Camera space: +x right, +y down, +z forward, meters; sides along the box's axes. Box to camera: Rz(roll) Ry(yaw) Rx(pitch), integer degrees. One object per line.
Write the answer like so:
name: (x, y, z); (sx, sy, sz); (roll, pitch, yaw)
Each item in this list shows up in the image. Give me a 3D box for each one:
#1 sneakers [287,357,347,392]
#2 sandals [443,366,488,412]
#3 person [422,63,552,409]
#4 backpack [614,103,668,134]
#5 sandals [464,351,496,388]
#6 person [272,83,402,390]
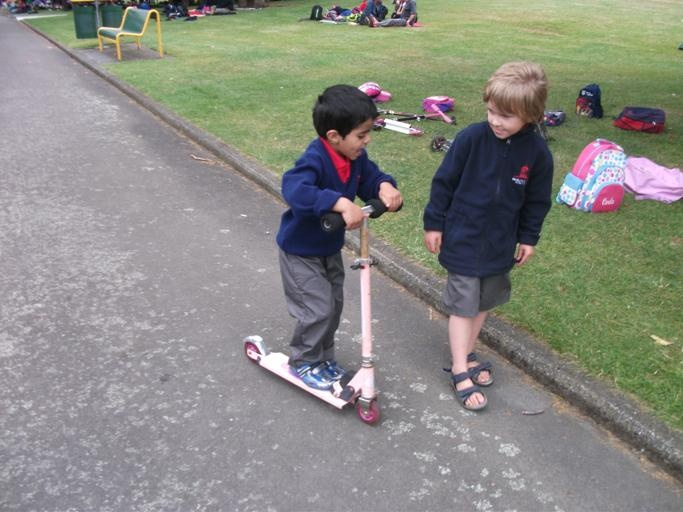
sneakers: (-0.163, 0.803, 4.135); (0.280, 0.090, 0.194); (15, 22, 24)
sandals: (0.834, 0.882, 4.148); (0.139, 0.136, 0.348); (-20, 26, -9)
person: (0.878, -0.137, 3.997); (0.667, 2.138, 0.640); (19, 30, 25)
backpack: (4.448, -2.034, 9.108); (0.571, 0.205, 0.478); (9, 29, 22)
sandals: (0.962, 0.801, 4.317); (0.147, 0.094, 0.350); (-14, 14, -6)
person: (-0.051, -0.078, 3.956); (0.685, 1.946, 0.622); (27, 34, 36)
